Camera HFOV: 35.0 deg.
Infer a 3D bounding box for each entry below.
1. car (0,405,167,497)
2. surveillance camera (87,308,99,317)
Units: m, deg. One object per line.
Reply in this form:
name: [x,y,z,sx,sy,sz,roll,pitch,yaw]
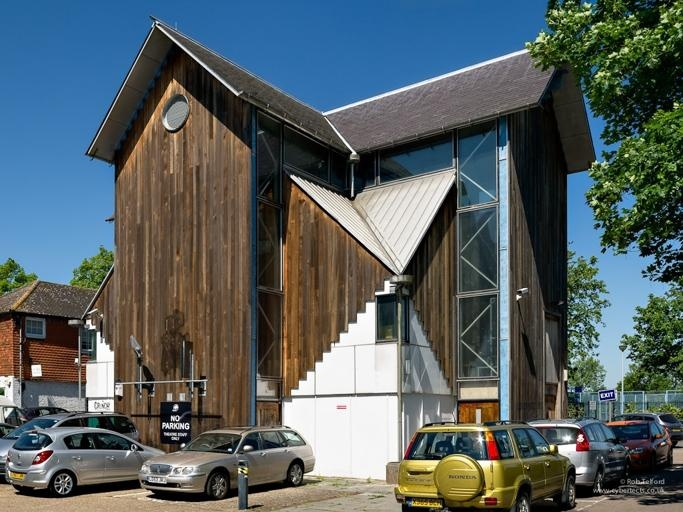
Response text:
car: [-8.774,6.577,36.022,3.953,1.982,2.405,-1,-3,-42]
surveillance camera: [-10.420,2.373,45.478,0.340,0.107,0.337,-18,4,32]
